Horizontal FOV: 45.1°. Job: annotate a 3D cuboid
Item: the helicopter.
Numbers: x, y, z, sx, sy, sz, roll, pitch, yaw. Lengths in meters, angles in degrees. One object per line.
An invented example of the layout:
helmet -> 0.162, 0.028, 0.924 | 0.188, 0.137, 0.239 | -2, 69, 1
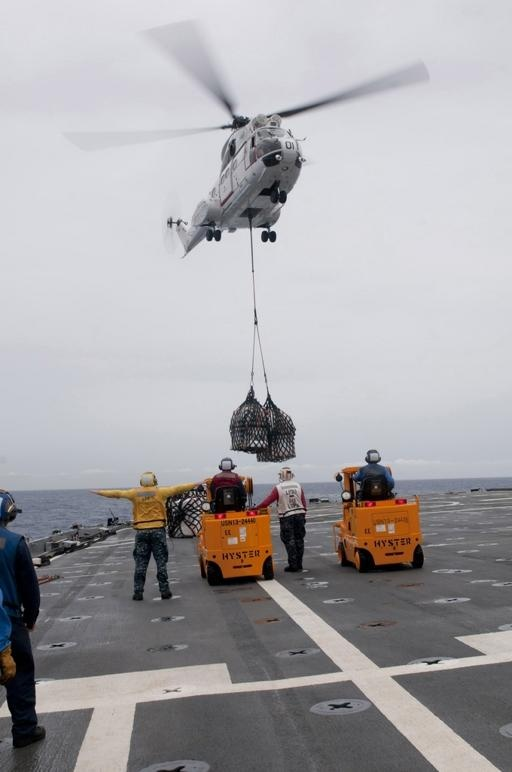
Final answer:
helicopter -> -1.009, -7.429, 22.340 | 9.725, 4.306, 11.689 | -2, -10, -25

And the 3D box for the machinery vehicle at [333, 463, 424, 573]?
machinery vehicle -> 2.290, 2.558, 11.964 | 1.360, 1.833, 2.124 | -5, -9, -7

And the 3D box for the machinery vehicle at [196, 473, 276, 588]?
machinery vehicle -> -0.525, 2.613, 11.430 | 1.130, 1.845, 2.084 | -4, -7, -14
